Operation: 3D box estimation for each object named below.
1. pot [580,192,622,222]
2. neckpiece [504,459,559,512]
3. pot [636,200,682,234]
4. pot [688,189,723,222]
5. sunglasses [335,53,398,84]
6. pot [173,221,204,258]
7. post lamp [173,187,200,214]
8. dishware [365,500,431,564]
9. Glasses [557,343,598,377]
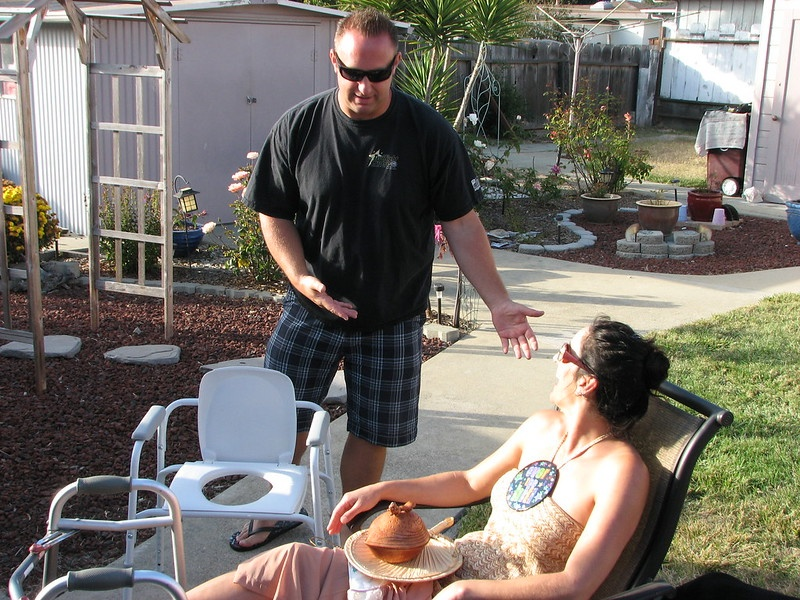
[{"bbox_3d":[2.910,-1.342,10.671,0.432,0.299,0.444,0,12,0],"label":"pot"},{"bbox_3d":[0.479,0.663,2.776,0.220,0.173,0.176,-9,15,-40],"label":"neckpiece"},{"bbox_3d":[3.333,-1.097,9.504,0.471,0.370,0.486,0,7,0],"label":"pot"},{"bbox_3d":[4.448,-1.402,10.697,0.465,0.382,0.467,0,15,0],"label":"pot"},{"bbox_3d":[-0.145,-0.968,3.088,0.250,0.114,0.097,-2,11,-5],"label":"sunglasses"},{"bbox_3d":[-2.375,-0.667,8.195,0.309,0.382,0.530,-4,11,-17],"label":"pot"},{"bbox_3d":[-2.044,-0.946,7.055,0.136,0.251,0.509,-3,11,-14],"label":"post lamp"},{"bbox_3d":[-0.011,0.838,2.665,0.234,0.199,0.137,0,11,1],"label":"dishware"},{"bbox_3d":[0.657,0.221,2.732,0.116,0.038,0.105,27,-2,1],"label":"Glasses"}]
